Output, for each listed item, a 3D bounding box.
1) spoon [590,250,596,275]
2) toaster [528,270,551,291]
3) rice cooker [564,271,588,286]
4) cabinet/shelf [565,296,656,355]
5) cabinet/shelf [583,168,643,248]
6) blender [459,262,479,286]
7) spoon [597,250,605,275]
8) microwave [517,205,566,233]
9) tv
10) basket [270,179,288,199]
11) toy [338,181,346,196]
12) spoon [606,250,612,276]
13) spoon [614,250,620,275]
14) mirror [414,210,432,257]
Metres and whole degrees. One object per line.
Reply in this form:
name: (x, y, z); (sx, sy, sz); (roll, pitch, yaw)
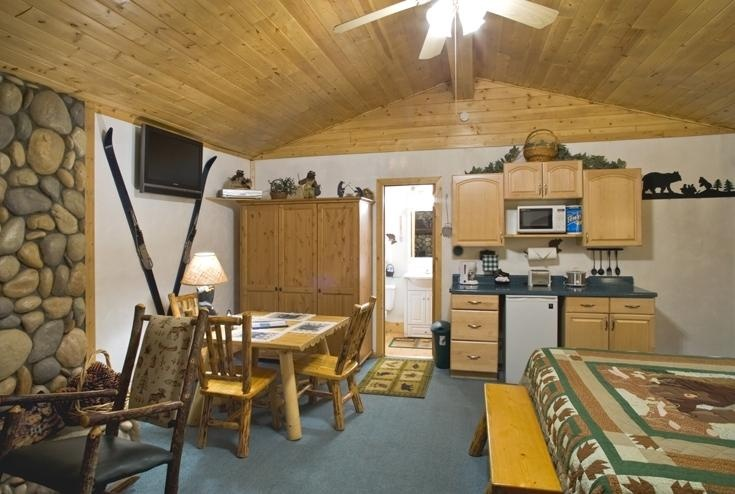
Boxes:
spoon: (2.754, 0.198, 5.983); (0.066, 0.299, 0.069); (3, 14, 15)
toaster: (2.062, 0.398, 5.865); (0.232, 0.164, 0.227); (0, -2, 3)
rice cooker: (2.469, 0.381, 5.855); (0.159, 0.152, 0.208); (-1, -2, 37)
cabinet/shelf: (2.676, 0.836, 5.681); (1.056, 0.936, 0.622); (-1, -4, 13)
cabinet/shelf: (2.799, -0.447, 5.645); (0.636, 0.867, 0.240); (2, 14, 8)
blender: (1.266, 0.312, 6.165); (0.294, 0.322, 0.205); (-1, -2, 13)
spoon: (2.845, 0.190, 5.961); (0.070, 0.286, 0.042); (2, 4, 23)
microwave: (2.062, -0.312, 5.800); (0.569, 0.343, 0.320); (-1, -3, 16)
tv: (-2.173, -0.937, 5.356); (0.097, 0.676, 0.916); (2, -1, 24)
basket: (-1.195, -0.754, 6.502); (0.280, 0.197, 0.251); (-3, -5, 15)
toy: (-0.349, -0.765, 6.505); (0.105, 0.180, 0.299); (-1, 12, -2)
spoon: (2.925, 0.207, 5.952); (0.065, 0.269, 0.040); (1, 2, 8)
spoon: (3.019, 0.188, 5.934); (0.061, 0.282, 0.043); (2, 6, 22)
mirror: (0.883, -0.199, 7.944); (0.256, 0.740, 0.169); (0, 14, 0)
